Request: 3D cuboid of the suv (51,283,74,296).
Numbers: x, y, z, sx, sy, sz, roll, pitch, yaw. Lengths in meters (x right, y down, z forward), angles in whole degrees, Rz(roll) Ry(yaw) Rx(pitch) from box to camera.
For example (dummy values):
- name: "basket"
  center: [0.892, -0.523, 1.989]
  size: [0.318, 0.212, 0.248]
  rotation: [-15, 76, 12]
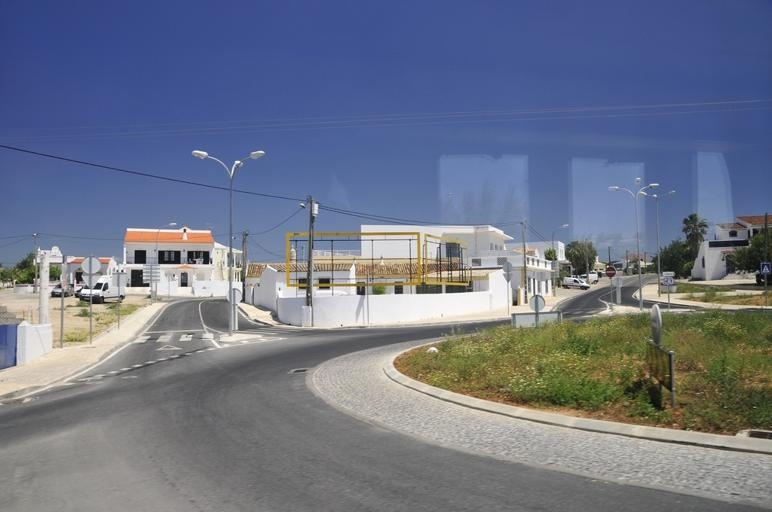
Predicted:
- name: "suv"
  center: [-26.988, 2.755, 57.450]
  size: [1.424, 1.118, 2.203]
  rotation: [-1, -9, -3]

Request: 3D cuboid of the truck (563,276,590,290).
- name: "truck"
  center: [22.645, 3.163, 82.313]
  size: [2.640, 1.219, 1.457]
  rotation: [-5, -4, 35]

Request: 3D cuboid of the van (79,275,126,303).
- name: "van"
  center: [-20.174, 2.318, 48.828]
  size: [1.981, 1.789, 3.605]
  rotation: [-1, -8, 10]

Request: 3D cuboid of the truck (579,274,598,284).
- name: "truck"
  center: [27.123, 3.000, 92.019]
  size: [2.702, 1.189, 1.436]
  rotation: [0, -1, 18]
